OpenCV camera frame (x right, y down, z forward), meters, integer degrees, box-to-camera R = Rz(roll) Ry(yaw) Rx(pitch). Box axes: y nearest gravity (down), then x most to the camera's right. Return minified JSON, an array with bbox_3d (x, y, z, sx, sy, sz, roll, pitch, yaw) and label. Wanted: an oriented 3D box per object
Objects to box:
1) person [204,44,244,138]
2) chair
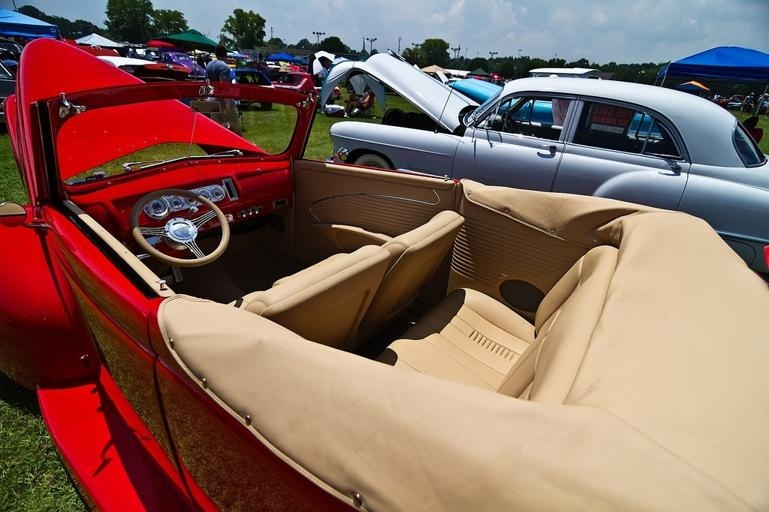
[{"bbox_3d":[-1.374,-1.363,4.225,0.317,0.890,0.247,-29,55,-34],"label":"person"},{"bbox_3d":[0.253,0.292,2.563,1.395,0.593,1.064,25,35,19],"label":"chair"}]
